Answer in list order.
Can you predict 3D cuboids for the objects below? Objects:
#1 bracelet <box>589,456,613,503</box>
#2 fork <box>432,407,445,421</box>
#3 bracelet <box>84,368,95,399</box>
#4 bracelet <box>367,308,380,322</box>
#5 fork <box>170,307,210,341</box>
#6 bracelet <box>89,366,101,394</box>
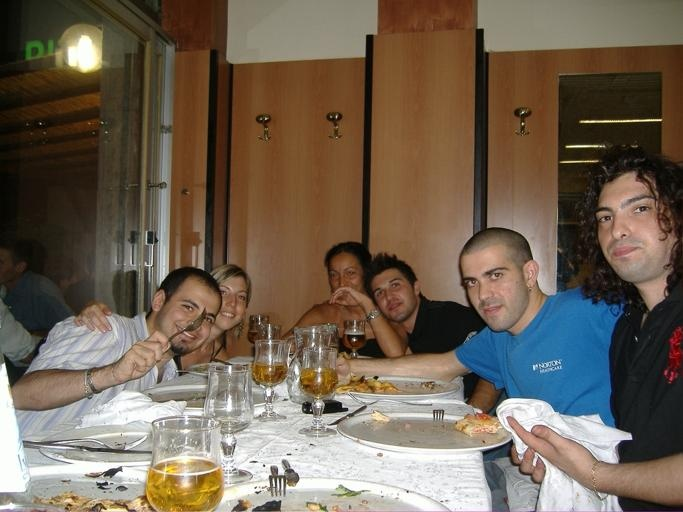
[{"bbox_3d":[0.756,0.670,1.713,0.032,0.139,0.100,-4,2,-20],"label":"bracelet"},{"bbox_3d":[0.343,0.555,2.011,0.028,0.051,0.035,-2,-12,12],"label":"fork"},{"bbox_3d":[-0.886,0.461,2.047,0.031,0.078,0.062,-4,-1,-12],"label":"bracelet"},{"bbox_3d":[0.192,0.351,3.487,0.075,0.051,0.076,-16,-33,11],"label":"bracelet"},{"bbox_3d":[-0.660,0.313,2.461,0.053,0.065,0.362,-18,-14,-44],"label":"fork"},{"bbox_3d":[-0.864,0.442,2.026,0.027,0.075,0.062,0,3,-5],"label":"bracelet"}]
